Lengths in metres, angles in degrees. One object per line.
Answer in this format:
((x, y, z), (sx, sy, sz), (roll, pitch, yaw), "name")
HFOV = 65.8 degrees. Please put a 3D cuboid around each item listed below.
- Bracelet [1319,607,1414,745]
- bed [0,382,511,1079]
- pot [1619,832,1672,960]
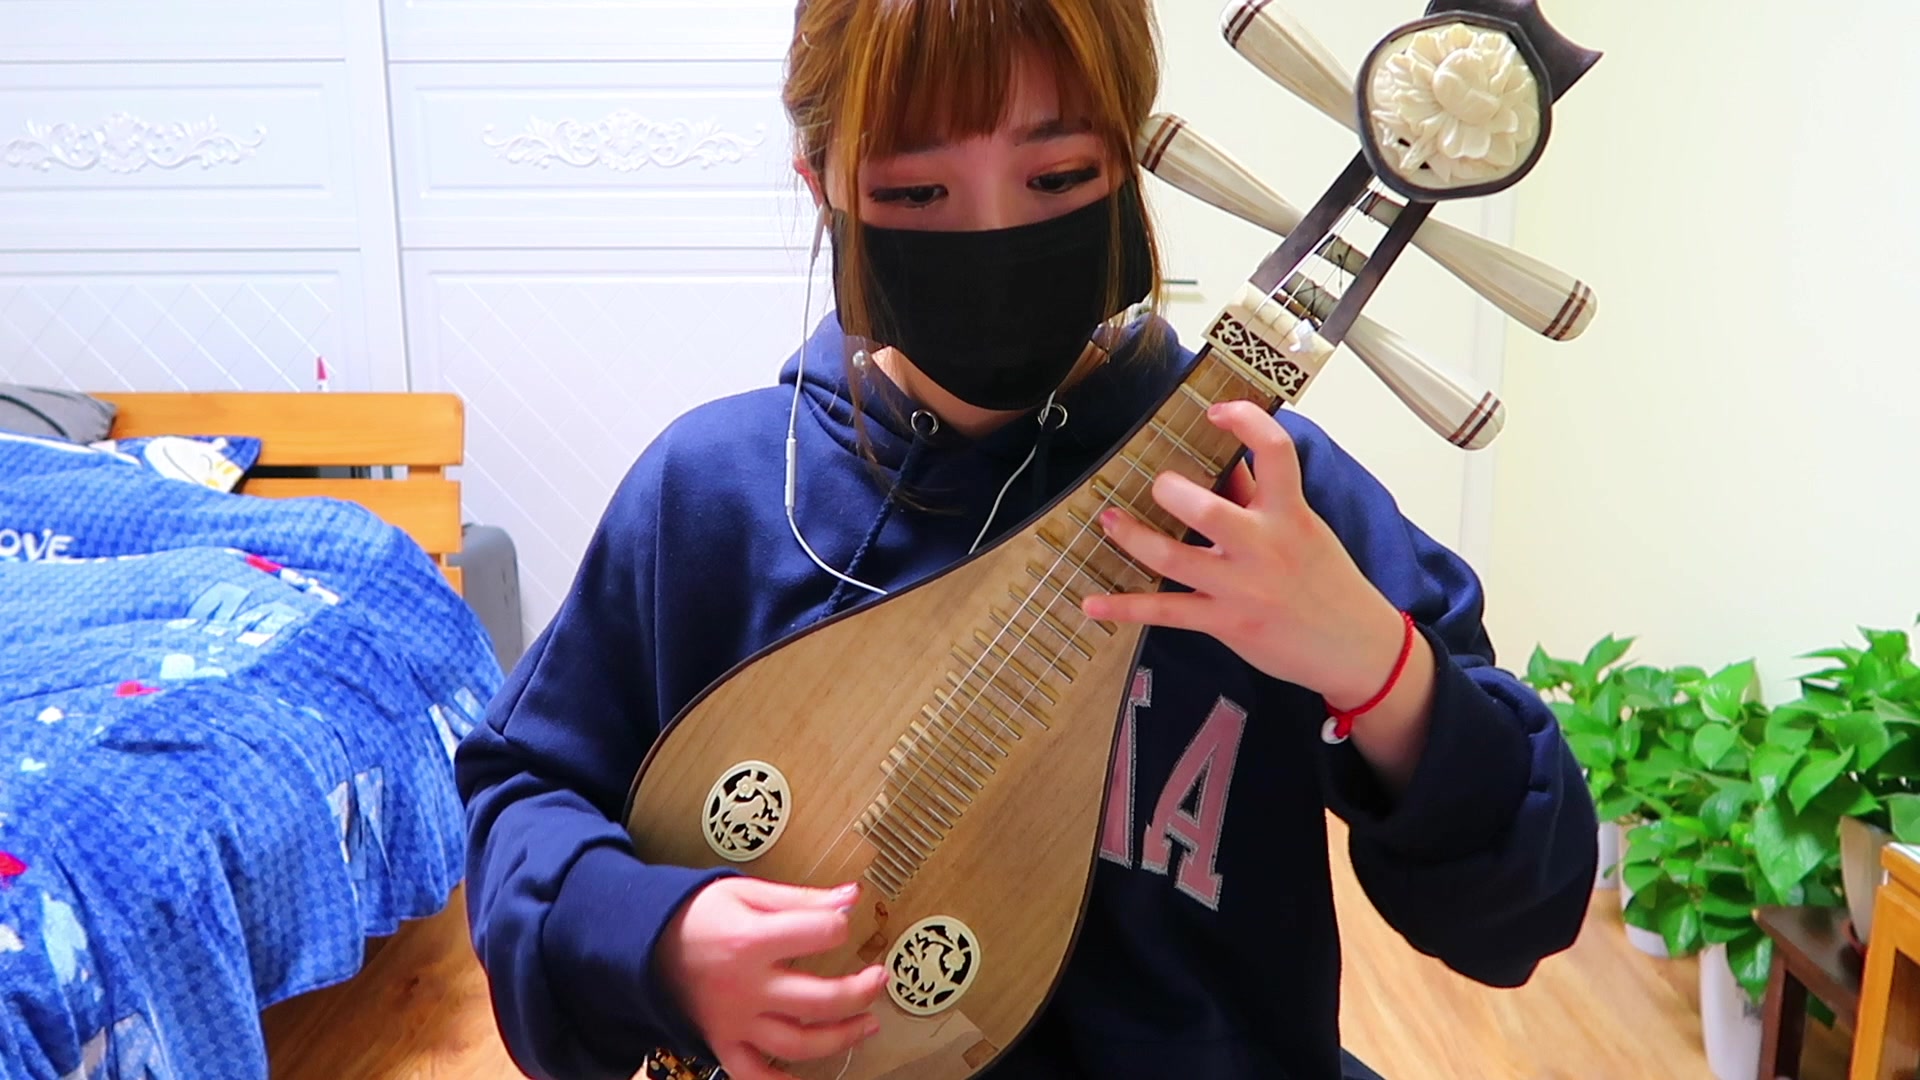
((0.647, 0.222, 2.434), (0.137, 0.203, 0.056), (28, 2, -6), "Bracelet")
((-1.715, 0.410, 4.246), (1.249, 1.237, 1.871), (0, 8, 1), "bed")
((1.693, 0.870, 3.673), (0.129, 0.318, 0.271), (4, 13, 24), "pot")
